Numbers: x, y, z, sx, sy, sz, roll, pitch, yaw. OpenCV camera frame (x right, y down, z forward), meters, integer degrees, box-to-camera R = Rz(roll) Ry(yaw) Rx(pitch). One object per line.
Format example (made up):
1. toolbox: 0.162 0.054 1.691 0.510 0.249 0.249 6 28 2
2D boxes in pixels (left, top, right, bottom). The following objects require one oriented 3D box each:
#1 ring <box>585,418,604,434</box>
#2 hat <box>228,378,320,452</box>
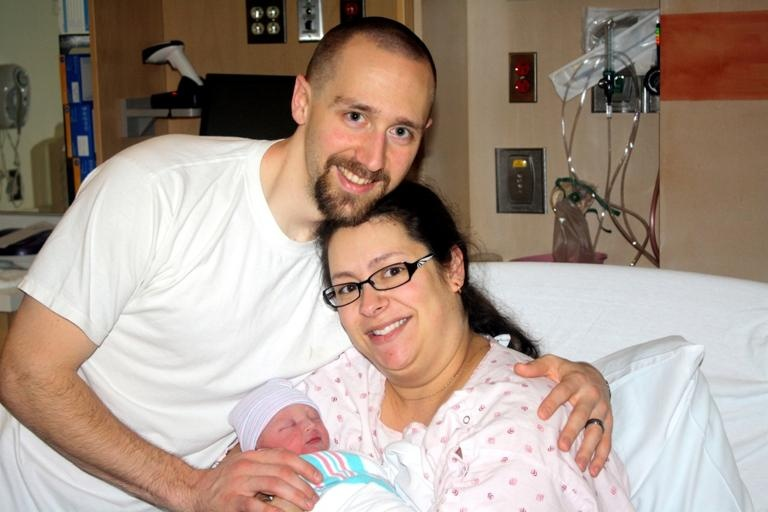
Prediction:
1. ring: 0.654 0.530 1.964 0.072 0.040 0.025 -2 10 -11
2. hat: -0.440 0.550 2.361 0.241 0.153 0.287 31 13 -10
